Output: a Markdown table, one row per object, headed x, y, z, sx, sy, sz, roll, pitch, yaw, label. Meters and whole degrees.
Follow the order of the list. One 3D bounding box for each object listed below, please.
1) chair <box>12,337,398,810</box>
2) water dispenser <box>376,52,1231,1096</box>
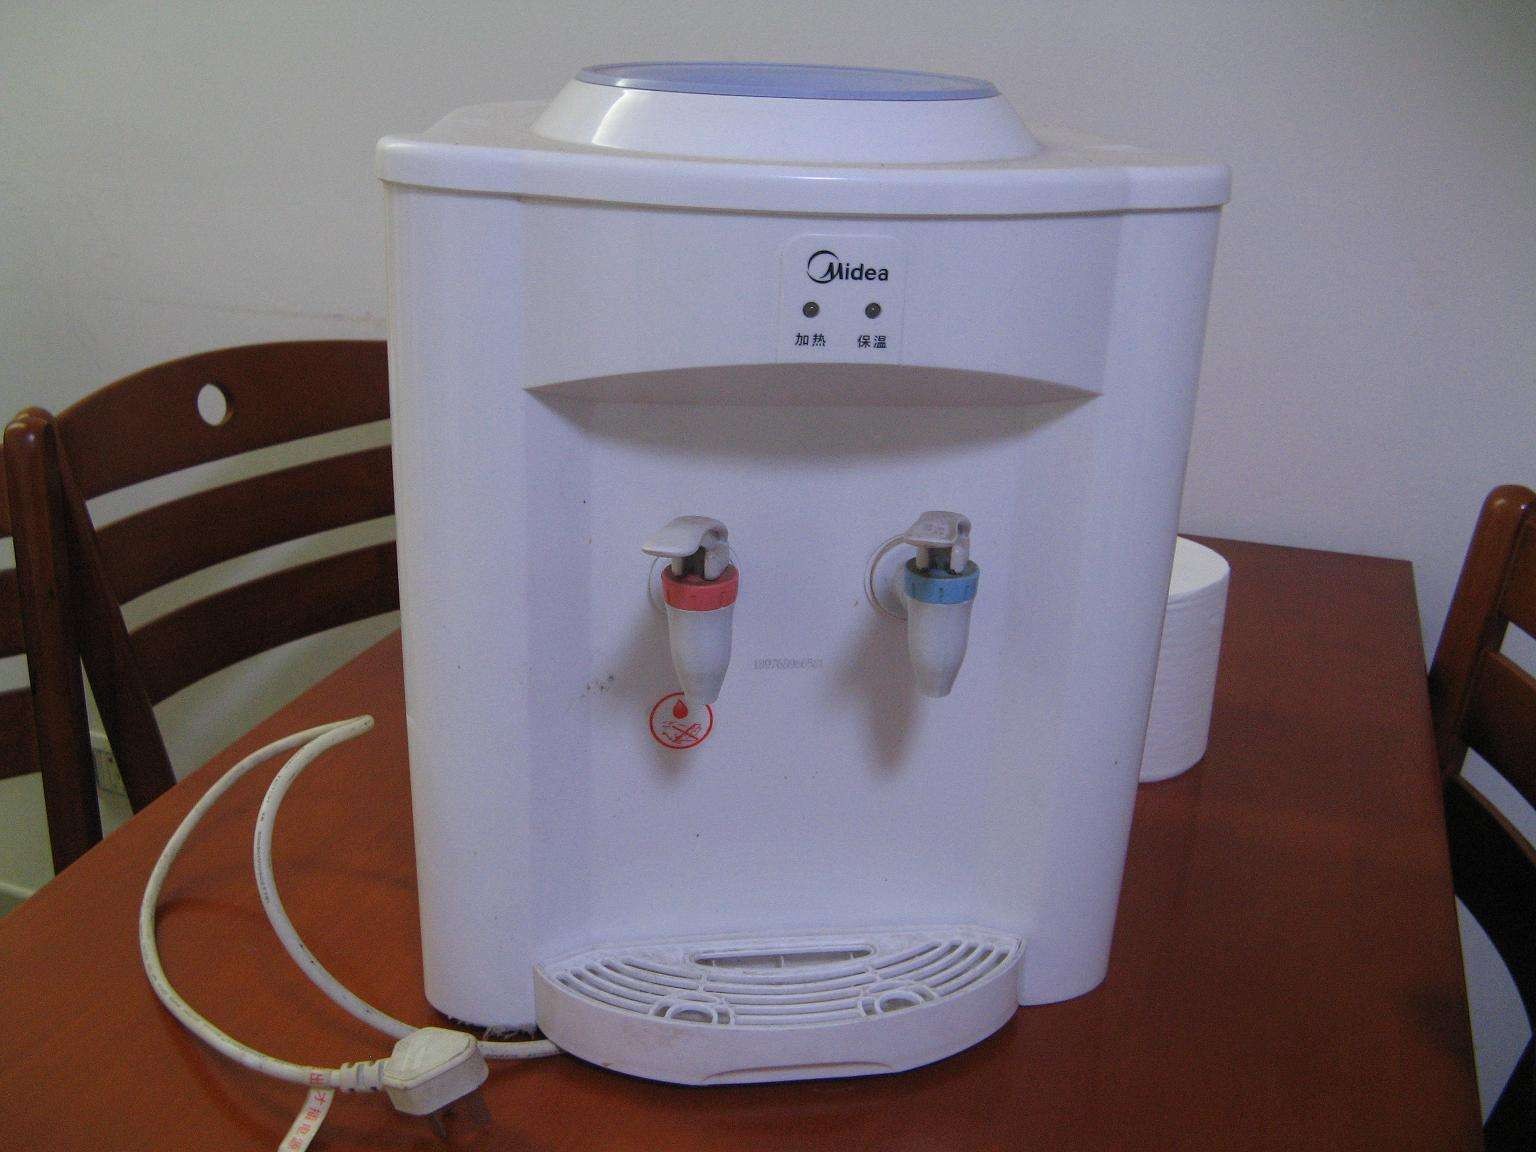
| x | y | z | sx | sy | sz | roll | pitch | yaw | label |
| --- | --- | --- | --- | --- | --- | --- | --- | --- | --- |
| -0.559 | -0.022 | 1.275 | 0.301 | 0.501 | 0.291 | -19 | 33 | -39 | chair |
| 0.016 | -0.068 | 1.079 | 0.543 | 0.854 | 0.626 | 0 | 22 | -1 | water dispenser |
